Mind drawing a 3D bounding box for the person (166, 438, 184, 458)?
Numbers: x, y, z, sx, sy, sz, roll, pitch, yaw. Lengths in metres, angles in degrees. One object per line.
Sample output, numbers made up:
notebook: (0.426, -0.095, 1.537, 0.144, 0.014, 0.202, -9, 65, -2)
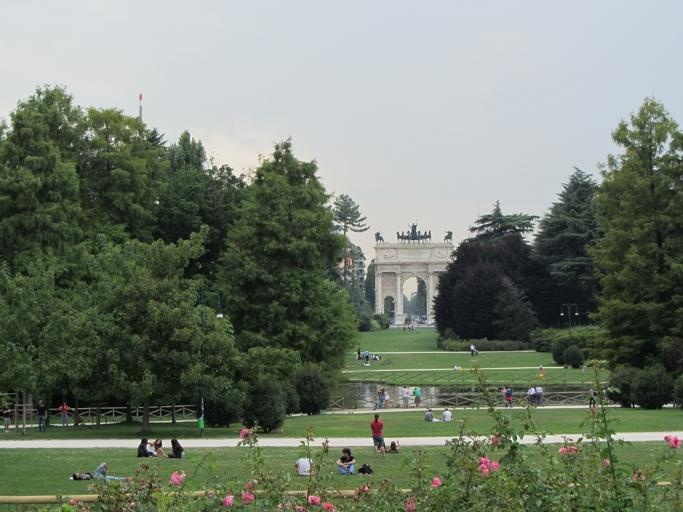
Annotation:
person: (-8.155, 9.709, 80.263, 0.871, 1.146, 0.884, 3, -2, 17)

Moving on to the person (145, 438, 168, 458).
person: (-9.201, 9.763, 80.491, 1.374, 1.144, 0.645, 1, 0, -2)

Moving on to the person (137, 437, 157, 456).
person: (-9.654, 9.677, 80.285, 0.877, 1.013, 0.780, -1, 0, -9)
